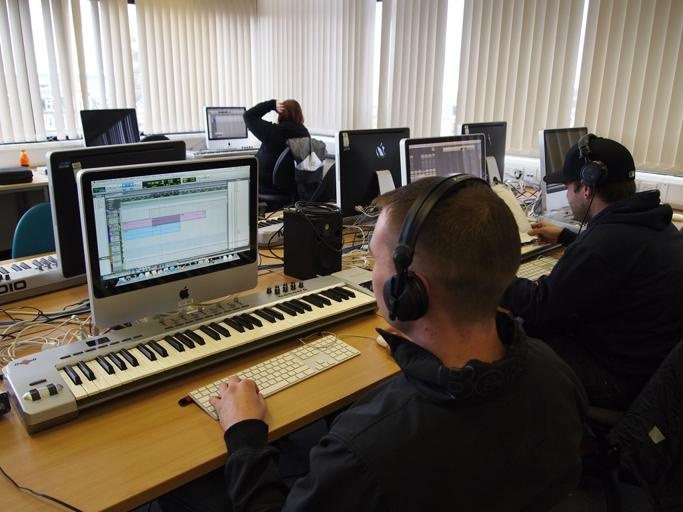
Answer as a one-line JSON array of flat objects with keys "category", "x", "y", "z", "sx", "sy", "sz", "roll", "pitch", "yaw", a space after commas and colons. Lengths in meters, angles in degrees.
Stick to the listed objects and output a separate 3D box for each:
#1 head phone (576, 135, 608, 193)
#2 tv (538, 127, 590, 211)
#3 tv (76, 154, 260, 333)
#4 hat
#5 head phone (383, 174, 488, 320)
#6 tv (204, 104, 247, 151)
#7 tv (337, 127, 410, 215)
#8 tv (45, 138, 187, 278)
[{"category": "head phone", "x": 1.063, "y": -0.398, "z": 2.039, "sx": 0.084, "sy": 0.229, "sz": 0.226, "roll": -13, "pitch": -8, "yaw": 28}, {"category": "tv", "x": 1.179, "y": -0.453, "z": 2.533, "sx": 0.070, "sy": 0.366, "sz": 0.508, "roll": 6, "pitch": 31, "yaw": 44}, {"category": "tv", "x": -0.566, "y": -0.035, "z": 1.554, "sx": 0.521, "sy": 0.462, "sz": 0.173, "roll": -15, "pitch": 23, "yaw": -39}, {"category": "hat", "x": 1.071, "y": -0.398, "z": 2.056, "sx": 0.209, "sy": 0.182, "sz": 0.299, "roll": -17, "pitch": 25, "yaw": -36}, {"category": "head phone", "x": 0.240, "y": 0.002, "z": 1.038, "sx": 0.344, "sy": 0.310, "sz": 0.108, "roll": 3, "pitch": 16, "yaw": -40}, {"category": "tv", "x": -1.548, "y": -1.684, "z": 6.316, "sx": 0.577, "sy": 0.534, "sz": 0.167, "roll": -17, "pitch": 27, "yaw": -39}, {"category": "tv", "x": 0.140, "y": -0.429, "z": 2.410, "sx": 0.506, "sy": 0.486, "sz": 0.178, "roll": -20, "pitch": 32, "yaw": -38}, {"category": "tv", "x": -0.736, "y": -0.148, "z": 1.560, "sx": 0.044, "sy": 0.394, "sz": 0.449, "roll": 18, "pitch": 34, "yaw": 31}]
